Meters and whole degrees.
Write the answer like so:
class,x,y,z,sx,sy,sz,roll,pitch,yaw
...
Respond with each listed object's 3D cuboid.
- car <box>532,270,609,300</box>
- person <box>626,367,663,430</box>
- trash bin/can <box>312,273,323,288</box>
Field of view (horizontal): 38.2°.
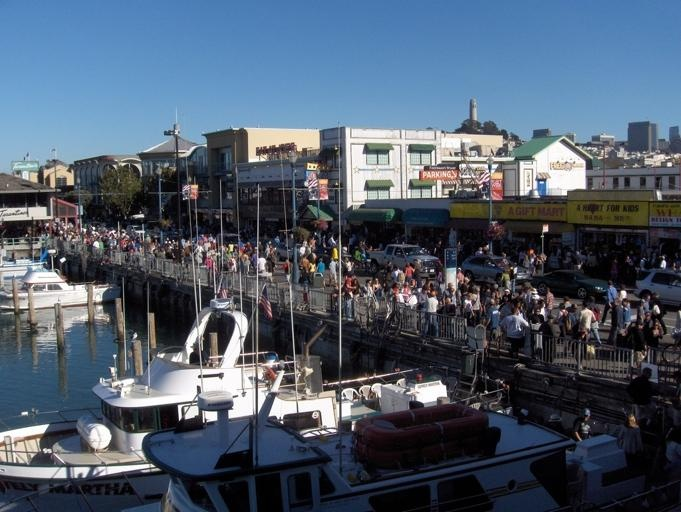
class,x,y,z,sx,sy,sz,roll,pitch,yaw
car,10.020,1.228,42.459,1.656,1.248,3.636,-4,6,-38
person,8.860,4.187,28.580,0.876,2.606,0.792,12,32,38
trash bin/can,-1.017,1.053,42.781,0.559,0.679,0.457,0,-3,-9
